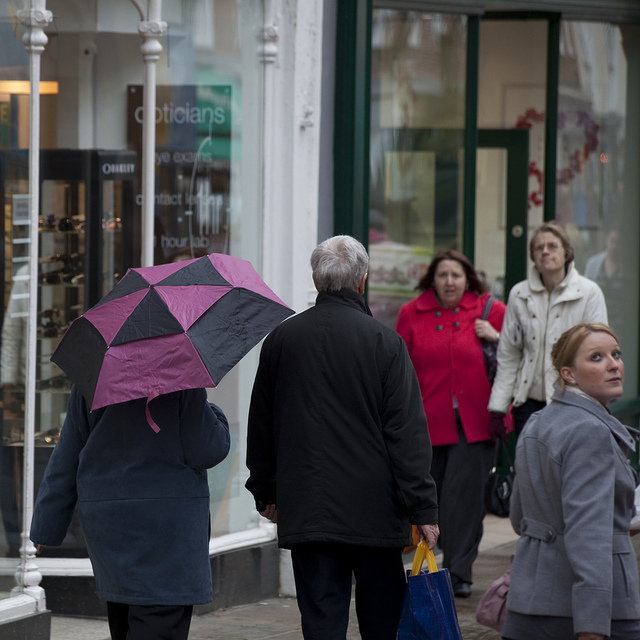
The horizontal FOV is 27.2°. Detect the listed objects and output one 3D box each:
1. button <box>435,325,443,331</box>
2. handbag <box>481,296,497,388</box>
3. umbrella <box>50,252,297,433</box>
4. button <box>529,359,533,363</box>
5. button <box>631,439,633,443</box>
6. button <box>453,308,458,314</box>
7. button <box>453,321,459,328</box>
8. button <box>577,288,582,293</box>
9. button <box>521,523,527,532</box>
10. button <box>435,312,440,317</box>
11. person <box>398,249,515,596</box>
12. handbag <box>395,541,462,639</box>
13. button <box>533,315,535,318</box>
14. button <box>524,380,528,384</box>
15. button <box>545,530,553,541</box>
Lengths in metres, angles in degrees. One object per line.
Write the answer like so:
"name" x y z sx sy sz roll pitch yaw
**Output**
"button" 0.643 0.046 7.105 0.024 0.029 0.006 -6 -13 25
"handbag" 0.920 0.122 7.154 0.067 0.329 0.168 -1 0 17
"umbrella" -0.601 0.037 5.064 0.927 0.413 1.060 -2 21 22
"button" 1.136 0.221 7.099 0.015 0.018 0.004 -10 -12 12
"button" 1.107 0.431 4.686 0.008 0.018 0.012 -6 -2 9
"button" 0.730 -0.046 7.109 0.022 0.027 0.006 -2 -12 15
"button" 0.731 0.028 7.074 0.023 0.028 0.008 -9 -6 2
"button" 1.378 -0.152 6.998 0.026 0.014 0.010 -1 1 -30
"button" 0.722 0.734 4.662 0.020 0.021 0.037 -2 -19 10
"button" 0.637 -0.028 7.138 0.019 0.020 0.024 -3 6 6
"person" 0.693 0.533 7.255 0.647 1.898 0.557 2 23 5
"handbag" 0.406 1.046 5.090 0.170 0.258 0.247 -1 1 -36
"button" 1.146 -0.017 7.064 0.010 0.012 0.003 -2 -4 20
"button" 1.109 0.333 7.118 0.013 0.017 0.015 0 -14 4
"button" 0.787 0.739 4.542 0.027 0.032 0.009 -1 0 23
